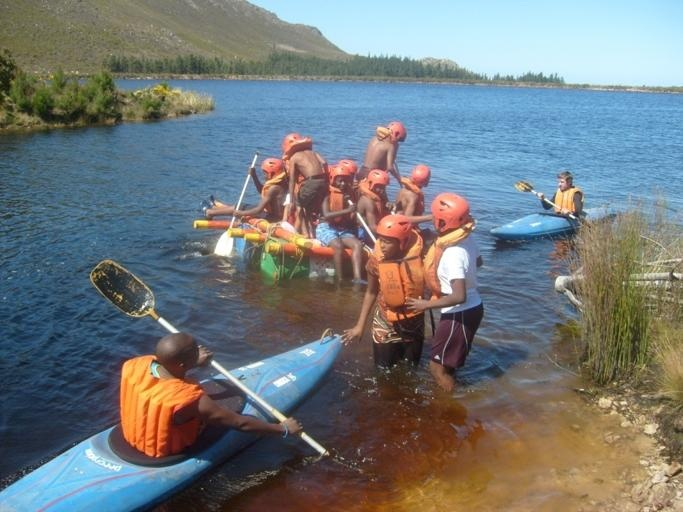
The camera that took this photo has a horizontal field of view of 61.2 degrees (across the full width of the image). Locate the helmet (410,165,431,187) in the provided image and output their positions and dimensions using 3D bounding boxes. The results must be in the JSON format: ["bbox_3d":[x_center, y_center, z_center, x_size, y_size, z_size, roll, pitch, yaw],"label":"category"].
[{"bbox_3d":[1.772,-1.767,12.496,0.390,0.473,0.477,18,44,14],"label":"helmet"}]

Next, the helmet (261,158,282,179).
[{"bbox_3d":[-1.665,-2.123,13.958,0.560,0.471,0.414,0,12,-8],"label":"helmet"}]

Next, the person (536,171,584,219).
[{"bbox_3d":[6.095,-1.345,15.827,0.992,1.786,1.045,-16,21,-17],"label":"person"}]

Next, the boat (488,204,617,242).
[{"bbox_3d":[6.162,-0.785,15.968,4.360,0.664,1.234,-8,17,-16],"label":"boat"}]

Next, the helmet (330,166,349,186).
[{"bbox_3d":[-0.057,-1.811,12.958,0.277,0.484,0.617,-12,23,-28],"label":"helmet"}]

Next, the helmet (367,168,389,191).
[{"bbox_3d":[0.773,-1.643,12.375,0.512,0.347,0.344,-2,10,-3],"label":"helmet"}]

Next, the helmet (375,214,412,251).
[{"bbox_3d":[0.708,-0.332,8.307,0.651,0.452,0.463,-1,10,-34],"label":"helmet"}]

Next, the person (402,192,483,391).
[{"bbox_3d":[1.505,0.626,8.290,0.875,2.902,0.937,16,26,37],"label":"person"}]

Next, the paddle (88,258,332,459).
[{"bbox_3d":[-1.994,1.599,8.802,4.154,0.180,0.583,33,38,4],"label":"paddle"}]

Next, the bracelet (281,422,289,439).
[{"bbox_3d":[-0.698,2.206,7.278,0.125,0.158,0.159,-6,43,-1],"label":"bracelet"}]
